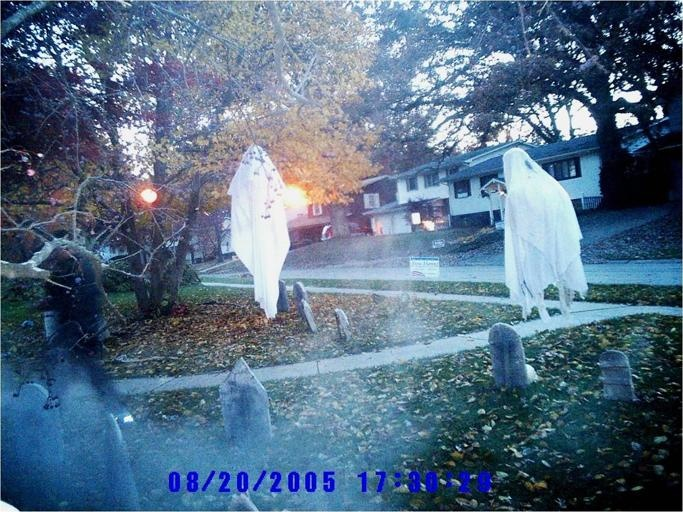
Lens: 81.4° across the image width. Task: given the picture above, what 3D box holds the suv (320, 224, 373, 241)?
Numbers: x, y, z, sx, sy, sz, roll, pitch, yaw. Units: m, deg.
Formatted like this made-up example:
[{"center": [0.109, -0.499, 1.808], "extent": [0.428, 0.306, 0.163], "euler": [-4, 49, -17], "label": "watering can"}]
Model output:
[{"center": [0.296, -2.853, 46.220], "extent": [3.965, 1.665, 2.863], "euler": [-3, 5, -15], "label": "suv"}]
